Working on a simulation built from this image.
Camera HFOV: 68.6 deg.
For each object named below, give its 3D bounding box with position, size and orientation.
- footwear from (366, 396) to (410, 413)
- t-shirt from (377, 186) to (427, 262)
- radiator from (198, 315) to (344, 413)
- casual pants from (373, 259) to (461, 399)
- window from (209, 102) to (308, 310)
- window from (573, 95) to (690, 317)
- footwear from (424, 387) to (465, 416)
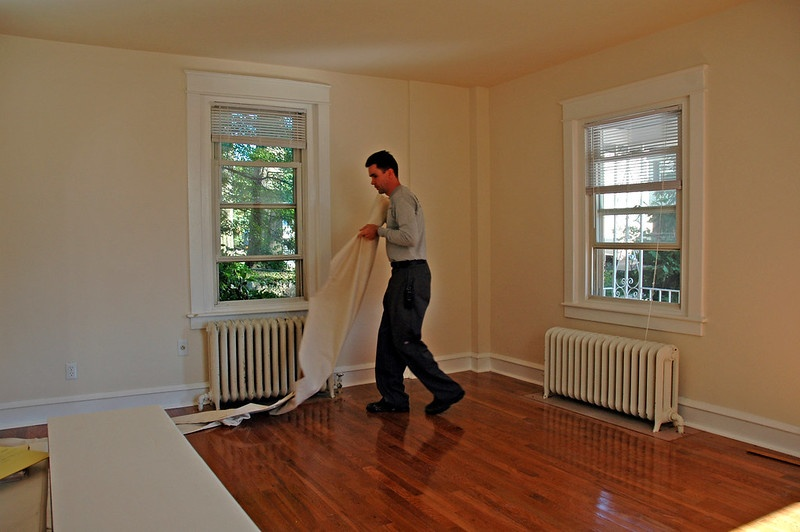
[{"bbox_3d":[-0.124,1.262,5.411,0.352,0.150,0.153,4,-9,-3],"label":"footwear"},{"bbox_3d":[-0.042,-0.311,5.578,0.554,0.802,0.879,0,7,4],"label":"t-shirt"},{"bbox_3d":[-1.338,0.861,5.619,0.950,0.699,0.170,-2,1,-25],"label":"radiator"},{"bbox_3d":[0.132,0.587,5.348,0.730,1.285,0.356,0,10,3],"label":"casual pants"},{"bbox_3d":[-1.391,-0.627,5.805,0.950,1.981,0.140,-1,-5,-5],"label":"window"},{"bbox_3d":[2.104,-0.519,5.401,0.129,1.915,1.035,-8,8,-39],"label":"window"},{"bbox_3d":[0.375,1.257,5.367,0.390,0.169,0.168,-27,1,-9],"label":"footwear"}]
